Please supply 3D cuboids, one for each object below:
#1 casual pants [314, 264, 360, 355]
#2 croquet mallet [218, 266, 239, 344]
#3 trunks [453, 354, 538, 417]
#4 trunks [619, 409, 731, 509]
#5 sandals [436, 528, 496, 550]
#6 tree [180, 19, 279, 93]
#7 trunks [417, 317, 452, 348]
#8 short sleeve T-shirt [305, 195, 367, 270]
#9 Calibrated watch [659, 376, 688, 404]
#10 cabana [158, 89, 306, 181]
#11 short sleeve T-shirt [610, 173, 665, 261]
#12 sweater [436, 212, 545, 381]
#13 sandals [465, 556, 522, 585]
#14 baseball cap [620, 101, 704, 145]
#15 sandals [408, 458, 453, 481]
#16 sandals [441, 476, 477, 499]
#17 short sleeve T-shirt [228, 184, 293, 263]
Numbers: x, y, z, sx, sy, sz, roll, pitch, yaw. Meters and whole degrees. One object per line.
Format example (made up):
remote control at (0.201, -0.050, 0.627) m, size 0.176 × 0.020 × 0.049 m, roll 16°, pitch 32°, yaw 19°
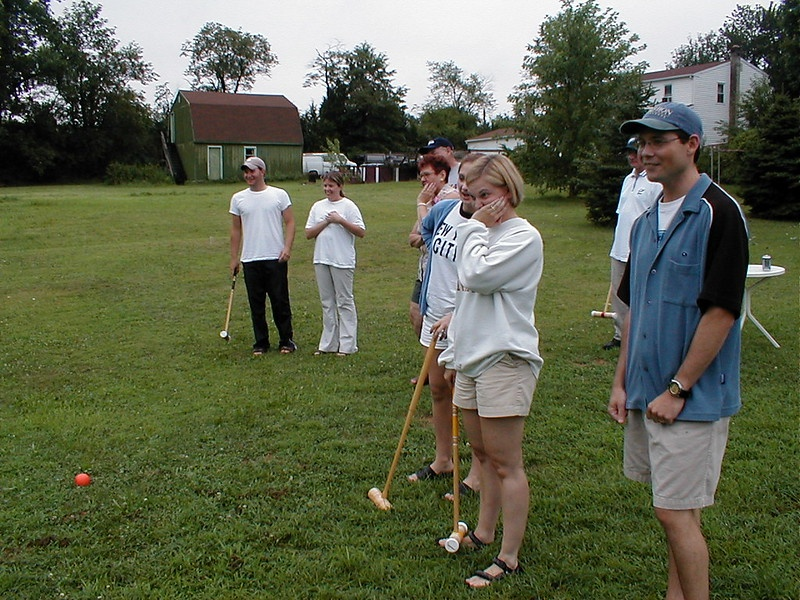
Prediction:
casual pants at (-0.843, 0.009, 8.564) m, size 0.503 × 1.368 × 0.399 m, roll 4°, pitch 8°, yaw 15°
croquet mallet at (-2.626, 0.088, 10.274) m, size 0.186 × 1.434 × 0.272 m, roll -11°, pitch 51°, yaw -33°
trunks at (0.628, 0.563, 4.423) m, size 0.377 × 0.506 × 0.541 m, roll 16°, pitch -17°, yaw -29°
trunks at (1.567, 0.894, 3.867) m, size 0.544 × 0.511 × 0.362 m, roll 3°, pitch 12°, yaw 26°
sandals at (0.458, 1.655, 4.703) m, size 0.378 × 0.113 × 0.140 m, roll 0°, pitch -4°, yaw 3°
tree at (-14.766, -20.799, 57.879) m, size 6.103 × 5.281 × 2.791 m, roll -3°, pitch 11°, yaw -5°
trunks at (0.269, 0.252, 5.368) m, size 0.214 × 0.239 × 0.223 m, roll 3°, pitch -5°, yaw -7°
short sleeve T-shirt at (-0.841, -0.852, 8.619) m, size 0.710 × 0.890 × 0.469 m, roll -4°, pitch 11°, yaw -7°
Calibrated watch at (1.532, 0.497, 3.765) m, size 0.113 × 0.129 × 0.080 m, roll 9°, pitch -5°, yaw -16°
cabana at (-9.518, -9.465, 38.561) m, size 7.552 × 5.230 × 5.762 m, roll -4°, pitch 11°, yaw -10°
short sleeve T-shirt at (2.780, -1.046, 7.962) m, size 0.314 × 0.972 × 0.549 m, roll -4°, pitch 13°, yaw -27°
sweater at (0.620, -0.037, 4.504) m, size 0.587 × 1.018 × 0.770 m, roll 1°, pitch 2°, yaw -13°
sandals at (0.601, 1.747, 4.390) m, size 0.395 × 0.114 × 0.146 m, roll -7°, pitch -2°, yaw -21°
baseball cap at (1.528, -1.004, 3.899) m, size 0.376 × 0.195 × 0.272 m, roll 18°, pitch 8°, yaw -2°
sandals at (0.249, 1.370, 5.513) m, size 0.349 × 0.101 × 0.139 m, roll 1°, pitch -5°, yaw -30°
sandals at (0.495, 1.463, 5.278) m, size 0.104 × 0.077 × 0.270 m, roll -4°, pitch -6°, yaw 35°
short sleeve T-shirt at (-1.768, -0.986, 8.601) m, size 0.730 × 0.920 × 0.526 m, roll -5°, pitch 11°, yaw -13°
